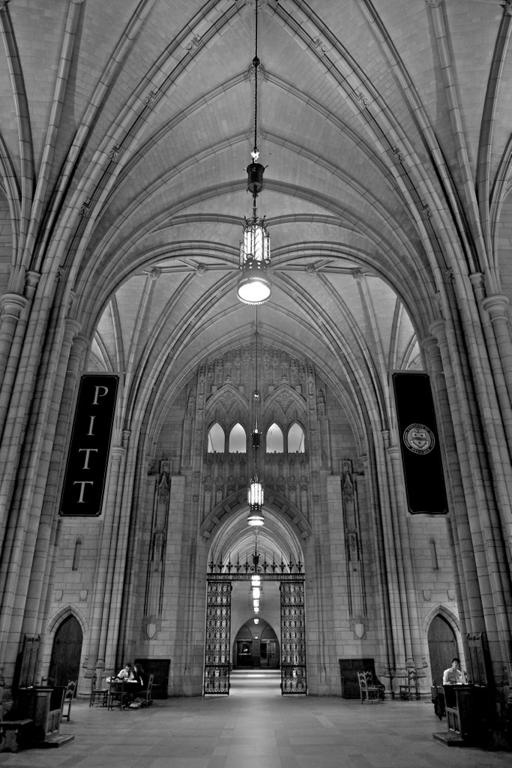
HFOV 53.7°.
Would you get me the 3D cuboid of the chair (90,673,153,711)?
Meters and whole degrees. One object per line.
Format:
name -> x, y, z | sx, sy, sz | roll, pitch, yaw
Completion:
chair -> -3.110, 7.295, 11.951 | 1.100, 0.649, 1.867 | 1, -25, -4
